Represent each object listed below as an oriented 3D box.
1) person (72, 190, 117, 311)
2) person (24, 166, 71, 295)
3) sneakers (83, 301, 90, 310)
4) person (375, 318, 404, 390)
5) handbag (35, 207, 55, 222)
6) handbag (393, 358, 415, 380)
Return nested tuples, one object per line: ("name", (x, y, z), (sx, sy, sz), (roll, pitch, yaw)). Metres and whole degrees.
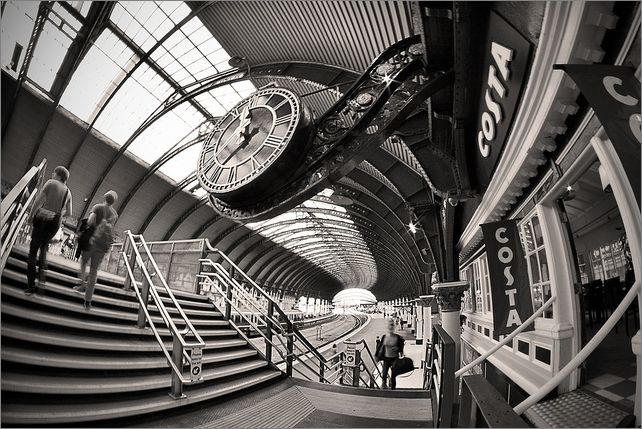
("person", (-5.607, 0.744, 9.485), (0.725, 2.887, 0.953), (15, -32, -37))
("person", (-6.443, 0.216, 9.051), (0.731, 3.112, 0.805), (10, -29, -31))
("sneakers", (-5.550, 2.079, 9.123), (0.143, 0.231, 0.297), (10, -30, -30))
("person", (2.314, 4.448, 12.598), (0.972, 2.258, 0.586), (5, 6, -2))
("handbag", (-6.345, -0.036, 8.850), (0.301, 0.339, 0.137), (15, -5, 5))
("handbag", (2.668, 4.711, 12.353), (0.744, 0.776, 0.489), (1, -6, 11))
